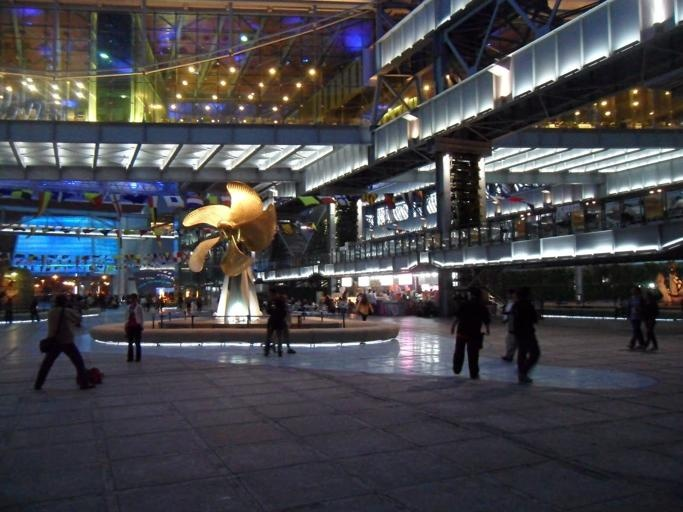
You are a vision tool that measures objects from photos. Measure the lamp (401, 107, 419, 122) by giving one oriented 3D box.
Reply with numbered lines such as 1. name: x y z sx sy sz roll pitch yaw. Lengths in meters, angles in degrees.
1. lamp: 4.182 -8.547 35.823 1.108 0.734 0.405 -4 -3 37

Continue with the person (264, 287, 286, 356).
1. person: -1.821 1.730 16.126 0.566 1.819 0.516 -2 28 -9

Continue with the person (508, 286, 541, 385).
1. person: 3.629 1.544 11.521 0.444 1.871 0.627 -3 -3 17

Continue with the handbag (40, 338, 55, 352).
1. handbag: -5.595 1.676 11.145 0.248 0.237 0.288 3 -18 2

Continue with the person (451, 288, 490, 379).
1. person: 2.639 1.538 12.060 0.699 1.947 0.580 6 19 12

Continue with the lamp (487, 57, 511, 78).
1. lamp: 7.661 -9.057 28.448 0.924 0.854 0.864 -2 -3 12
